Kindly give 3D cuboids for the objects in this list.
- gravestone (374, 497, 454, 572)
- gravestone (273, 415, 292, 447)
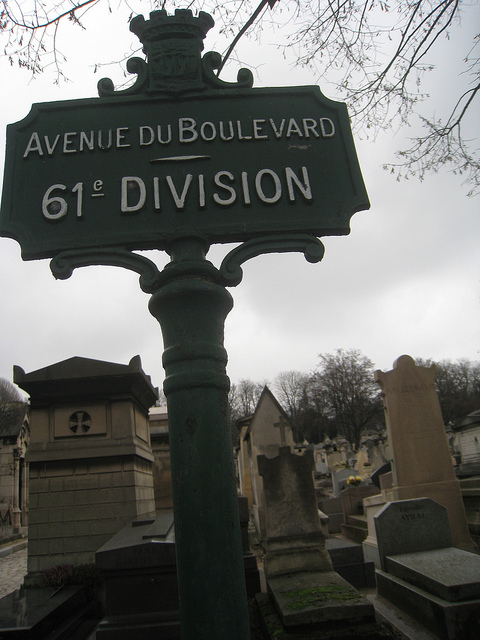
[{"bbox_3d":[1.933,2.349,5.236,0.896,0.619,0.263,-7,-16,-8],"label":"gravestone"},{"bbox_3d":[1.154,2.851,12.342,0.604,0.777,0.348,6,-21,-40],"label":"gravestone"}]
